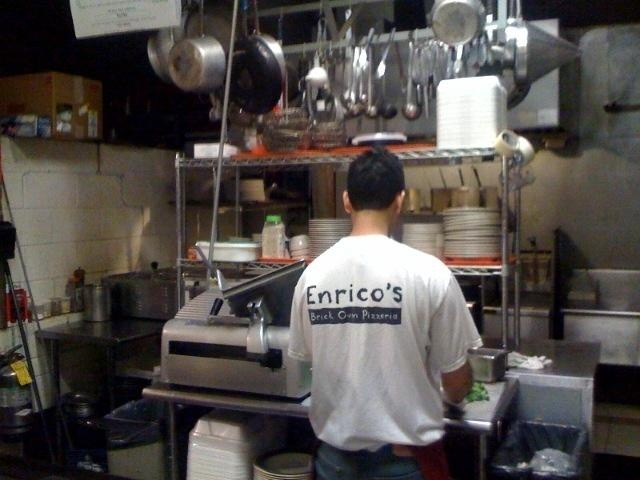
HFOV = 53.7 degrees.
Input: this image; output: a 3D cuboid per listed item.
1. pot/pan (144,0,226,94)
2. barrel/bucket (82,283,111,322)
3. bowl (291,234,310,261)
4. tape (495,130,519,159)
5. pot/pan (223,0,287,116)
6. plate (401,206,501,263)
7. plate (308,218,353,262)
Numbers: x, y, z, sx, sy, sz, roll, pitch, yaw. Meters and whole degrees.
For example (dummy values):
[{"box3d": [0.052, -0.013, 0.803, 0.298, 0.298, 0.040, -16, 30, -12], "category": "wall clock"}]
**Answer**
[{"box3d": [-0.768, -1.086, 3.881, 0.454, 0.618, 0.231, 13, 12, 24], "category": "pot/pan"}, {"box3d": [-1.749, 0.488, 4.927, 0.234, 0.289, 0.152, -1, 4, -1], "category": "barrel/bucket"}, {"box3d": [-0.118, 0.043, 3.994, 0.123, 0.133, 0.131, -2, 2, 0], "category": "bowl"}, {"box3d": [0.974, -0.505, 3.355, 0.118, 0.150, 0.098, -4, -5, -17], "category": "tape"}, {"box3d": [-0.381, -1.066, 3.798, 0.362, 0.663, 0.226, 3, 15, 26], "category": "pot/pan"}, {"box3d": [0.763, -0.029, 3.607, 0.365, 0.195, 0.488, 0, -1, 2], "category": "plate"}, {"box3d": [0.050, -0.022, 4.014, 0.203, 0.194, 0.244, -1, 0, -1], "category": "plate"}]
